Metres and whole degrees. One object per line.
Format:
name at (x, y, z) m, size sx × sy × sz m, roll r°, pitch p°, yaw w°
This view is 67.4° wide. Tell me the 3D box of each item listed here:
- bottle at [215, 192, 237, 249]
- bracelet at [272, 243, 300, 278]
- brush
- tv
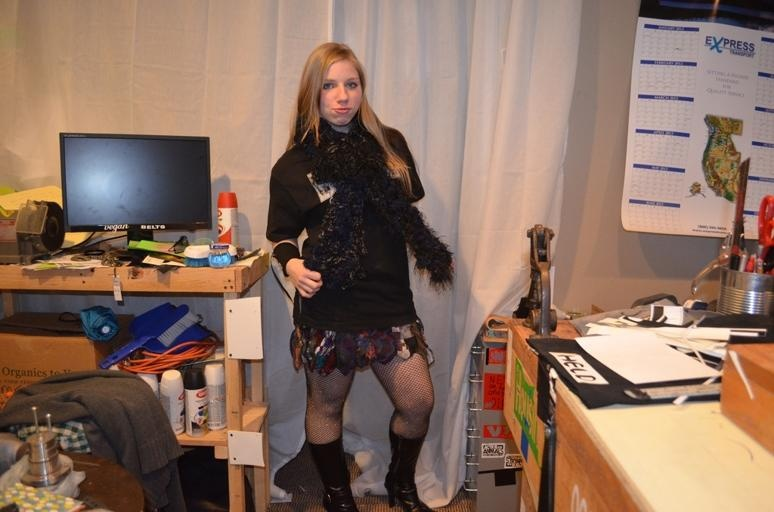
bottle at (-0.711, -0.165, 2.576) m, size 0.087 × 0.237 × 0.145 m, roll -2°, pitch 7°, yaw -14°
bracelet at (-0.412, 0.013, 2.355) m, size 0.112 × 0.103 × 0.134 m, roll -7°, pitch -2°, yaw -8°
brush at (-1.015, 0.318, 2.577) m, size 0.322 × 0.234 × 0.271 m, roll 2°, pitch 8°, yaw 7°
tv at (-1.076, -0.316, 2.494) m, size 0.598 × 0.411 × 0.046 m, roll -2°, pitch 7°, yaw -11°
